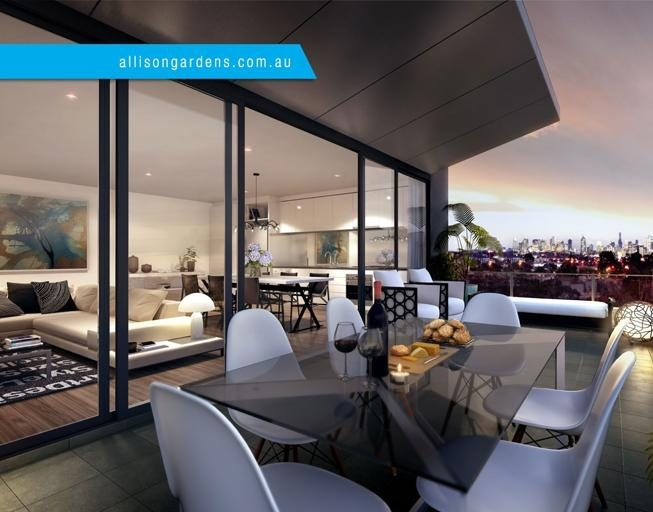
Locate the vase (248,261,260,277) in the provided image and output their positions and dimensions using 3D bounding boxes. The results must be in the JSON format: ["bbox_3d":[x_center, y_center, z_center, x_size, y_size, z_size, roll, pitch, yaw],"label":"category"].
[{"bbox_3d":[-1.169,0.197,7.062,0.202,0.250,0.214,0,-6,-2],"label":"vase"}]

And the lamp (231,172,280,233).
[{"bbox_3d":[-1.344,-1.045,8.469,0.530,1.049,0.858,-7,15,-28],"label":"lamp"}]
